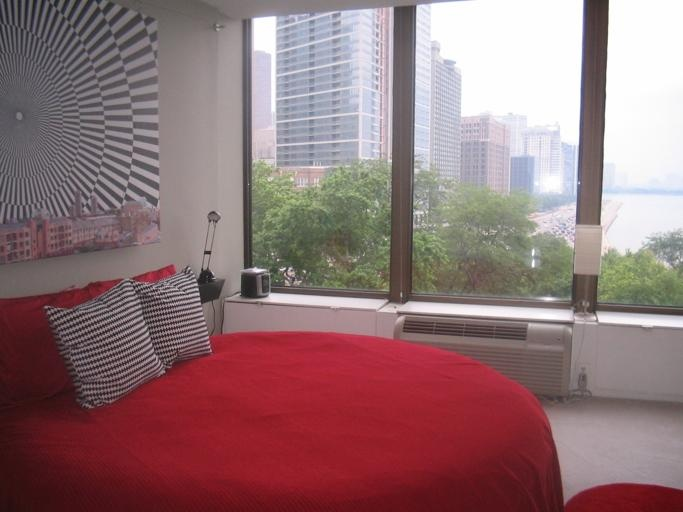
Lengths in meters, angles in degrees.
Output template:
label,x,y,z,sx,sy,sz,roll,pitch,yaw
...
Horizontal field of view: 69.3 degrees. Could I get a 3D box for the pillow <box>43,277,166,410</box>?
label,x,y,z,sx,sy,sz,roll,pitch,yaw
pillow,-1.166,0.439,2.444,0.145,0.518,0.501,-18,3,28

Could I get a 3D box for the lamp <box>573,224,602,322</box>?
label,x,y,z,sx,sy,sz,roll,pitch,yaw
lamp,2.033,0.105,4.065,0.214,0.742,0.400,7,14,28
